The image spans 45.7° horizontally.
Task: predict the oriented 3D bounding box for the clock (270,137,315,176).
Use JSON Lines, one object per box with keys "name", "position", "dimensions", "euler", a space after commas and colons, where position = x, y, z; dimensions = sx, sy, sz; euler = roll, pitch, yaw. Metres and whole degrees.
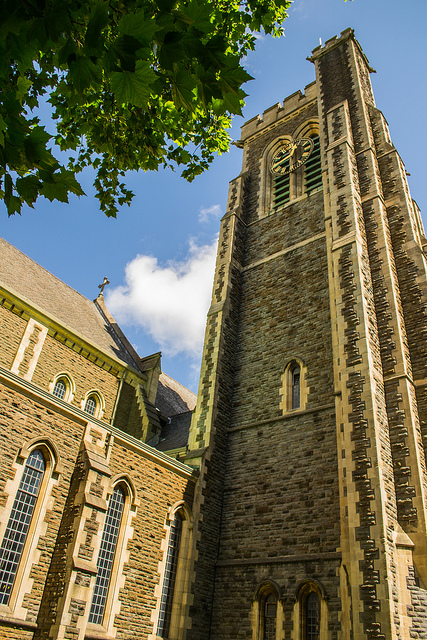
{"name": "clock", "position": [3.737, -7.554, 23.626], "dimensions": [2.254, 2.213, 0.227], "euler": [-34, -49, 10]}
